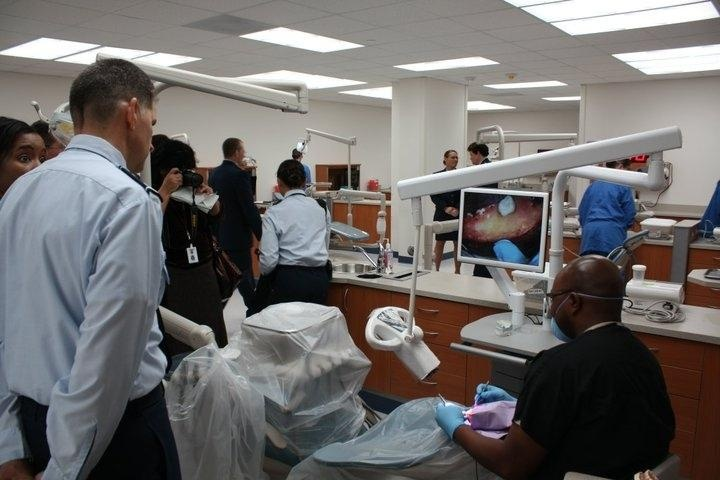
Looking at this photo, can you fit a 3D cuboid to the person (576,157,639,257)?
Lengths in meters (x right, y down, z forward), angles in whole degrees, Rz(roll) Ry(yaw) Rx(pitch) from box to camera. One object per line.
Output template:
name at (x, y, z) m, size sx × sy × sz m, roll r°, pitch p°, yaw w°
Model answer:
person at (2.444, -0.198, 4.864) m, size 0.496 × 0.760 × 0.543 m, roll 6°, pitch 9°, yaw 27°

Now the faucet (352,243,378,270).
faucet at (0.038, 0.162, 4.628) m, size 0.337 × 0.132 × 0.078 m, roll 32°, pitch -28°, yaw -28°

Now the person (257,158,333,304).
person at (-0.487, -0.028, 3.547) m, size 0.510 × 1.076 × 0.323 m, roll 2°, pitch 8°, yaw 2°

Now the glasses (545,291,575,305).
glasses at (0.786, 0.229, 1.911) m, size 0.124 × 0.039 × 0.122 m, roll 7°, pitch 8°, yaw 33°

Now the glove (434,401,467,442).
glove at (0.356, 0.731, 1.984) m, size 0.098 × 0.049 × 0.133 m, roll 4°, pitch 40°, yaw -36°

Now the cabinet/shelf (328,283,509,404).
cabinet/shelf at (0.407, 0.638, 2.937) m, size 0.939 × 0.583 × 0.315 m, roll 5°, pitch 4°, yaw 25°

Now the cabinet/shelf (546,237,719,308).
cabinet/shelf at (2.019, 0.220, 3.440) m, size 0.607 × 0.400 × 0.369 m, roll 8°, pitch -1°, yaw 39°

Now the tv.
tv at (0.888, -0.062, 3.037) m, size 0.686 × 0.625 × 0.070 m, roll 3°, pitch 4°, yaw 37°

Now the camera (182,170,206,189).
camera at (-1.010, -0.362, 2.951) m, size 0.110 × 0.076 × 0.121 m, roll 0°, pitch 1°, yaw -15°
